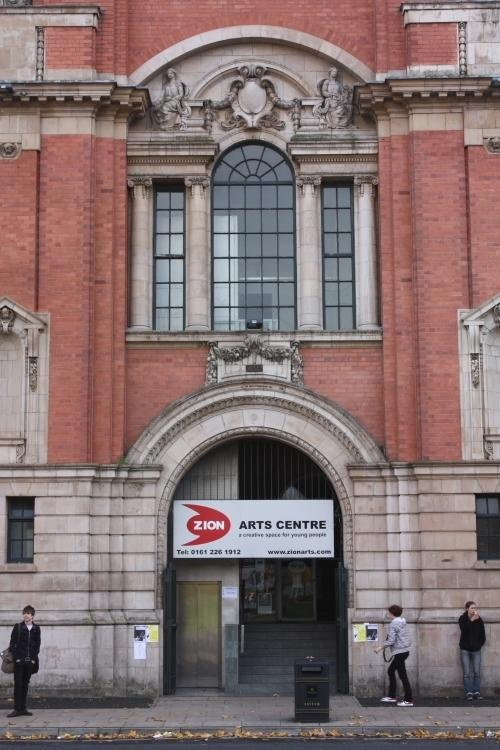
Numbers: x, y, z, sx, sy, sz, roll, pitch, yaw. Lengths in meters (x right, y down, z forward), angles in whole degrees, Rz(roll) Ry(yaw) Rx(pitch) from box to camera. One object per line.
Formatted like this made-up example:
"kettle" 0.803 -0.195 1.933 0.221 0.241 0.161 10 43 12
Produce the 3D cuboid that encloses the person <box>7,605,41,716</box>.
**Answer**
"person" -3.513 4.453 26.247 0.471 1.680 0.901 0 2 -5

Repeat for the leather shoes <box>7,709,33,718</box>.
"leather shoes" -3.535 5.209 25.980 0.380 0.175 0.138 8 -11 -12

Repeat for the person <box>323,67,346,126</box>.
"person" 1.567 -5.064 30.844 0.434 1.092 0.401 -1 2 -16

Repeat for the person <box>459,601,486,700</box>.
"person" 3.669 4.512 27.872 0.415 1.581 0.450 1 2 34

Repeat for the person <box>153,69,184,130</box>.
"person" -1.442 -5.066 30.867 0.569 1.090 0.435 0 2 -4

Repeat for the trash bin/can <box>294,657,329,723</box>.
"trash bin/can" 0.960 4.789 25.599 0.516 0.852 0.565 0 2 1

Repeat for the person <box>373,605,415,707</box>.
"person" 2.444 4.561 27.619 0.530 1.670 1.350 0 2 5
